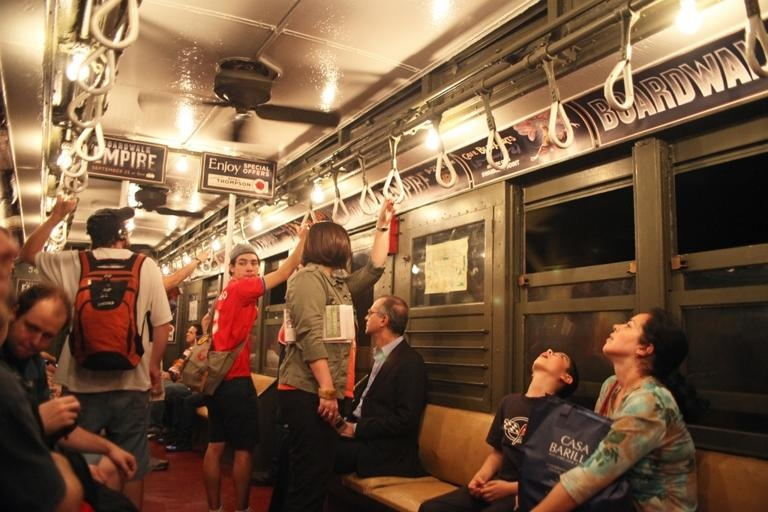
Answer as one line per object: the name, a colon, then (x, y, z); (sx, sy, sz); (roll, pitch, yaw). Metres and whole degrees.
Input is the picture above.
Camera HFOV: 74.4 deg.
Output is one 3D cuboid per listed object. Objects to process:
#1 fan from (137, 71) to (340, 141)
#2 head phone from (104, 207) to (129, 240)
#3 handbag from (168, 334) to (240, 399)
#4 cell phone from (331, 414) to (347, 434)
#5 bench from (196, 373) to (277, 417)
fan: (-1.500, -1.591, 5.705); (1.472, 0.387, 1.529); (-3, -5, 35)
head phone: (-2.109, -0.275, 4.086); (0.169, 0.245, 0.083); (9, -18, 30)
handbag: (-1.573, 0.899, 4.595); (0.448, 0.573, 0.327); (15, 3, 26)
cell phone: (-0.324, 1.213, 3.663); (0.066, 0.134, 0.193); (-1, -4, 12)
bench: (-2.119, 1.824, 6.817); (1.297, 0.283, 1.245); (1, -6, 22)
